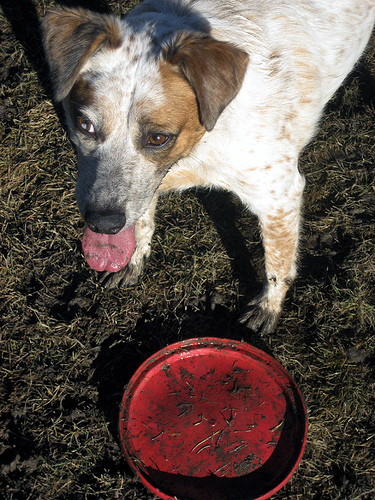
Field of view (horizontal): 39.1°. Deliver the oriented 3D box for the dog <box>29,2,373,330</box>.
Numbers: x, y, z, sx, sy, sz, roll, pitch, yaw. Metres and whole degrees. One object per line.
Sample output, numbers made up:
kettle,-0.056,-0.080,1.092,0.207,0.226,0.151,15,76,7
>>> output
dog,0.174,-0.598,3.708,1.917,2.046,1.455,-6,54,0
